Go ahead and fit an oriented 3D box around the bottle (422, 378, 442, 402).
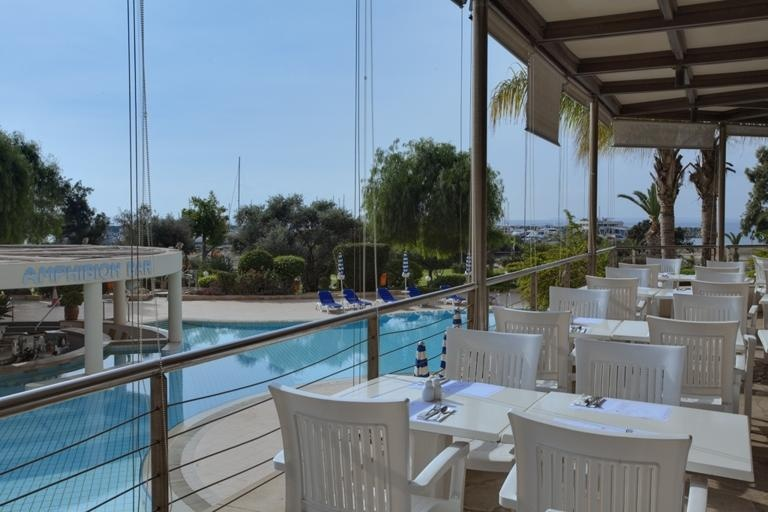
[{"bbox_3d":[0.288,0.798,3.580,0.136,0.159,0.080,-3,5,-40],"label":"bottle"}]
